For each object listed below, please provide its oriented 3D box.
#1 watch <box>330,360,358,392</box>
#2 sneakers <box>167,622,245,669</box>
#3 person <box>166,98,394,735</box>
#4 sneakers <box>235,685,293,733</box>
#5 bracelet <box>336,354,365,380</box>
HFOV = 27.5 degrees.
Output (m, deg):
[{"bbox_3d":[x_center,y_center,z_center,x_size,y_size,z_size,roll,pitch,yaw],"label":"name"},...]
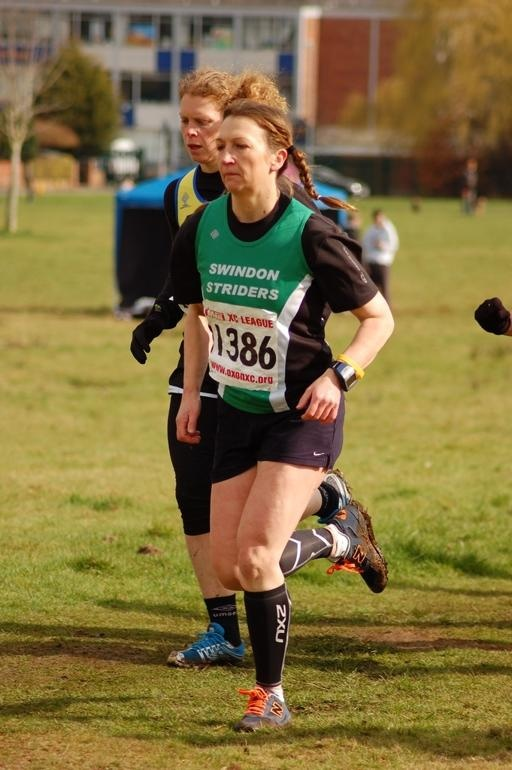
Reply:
[{"bbox_3d":[0.242,-0.023,2.911,0.045,0.067,0.064,-31,52,-24],"label":"watch"},{"bbox_3d":[-0.158,0.926,3.679,0.309,0.127,0.101,2,-5,-26],"label":"sneakers"},{"bbox_3d":[0.089,0.067,3.143,0.491,1.772,0.609,-2,10,-24],"label":"person"},{"bbox_3d":[0.021,0.930,3.001,0.147,0.110,0.154,2,9,5],"label":"sneakers"},{"bbox_3d":[0.276,-0.045,2.959,0.074,0.030,0.074,42,1,-35],"label":"bracelet"}]
